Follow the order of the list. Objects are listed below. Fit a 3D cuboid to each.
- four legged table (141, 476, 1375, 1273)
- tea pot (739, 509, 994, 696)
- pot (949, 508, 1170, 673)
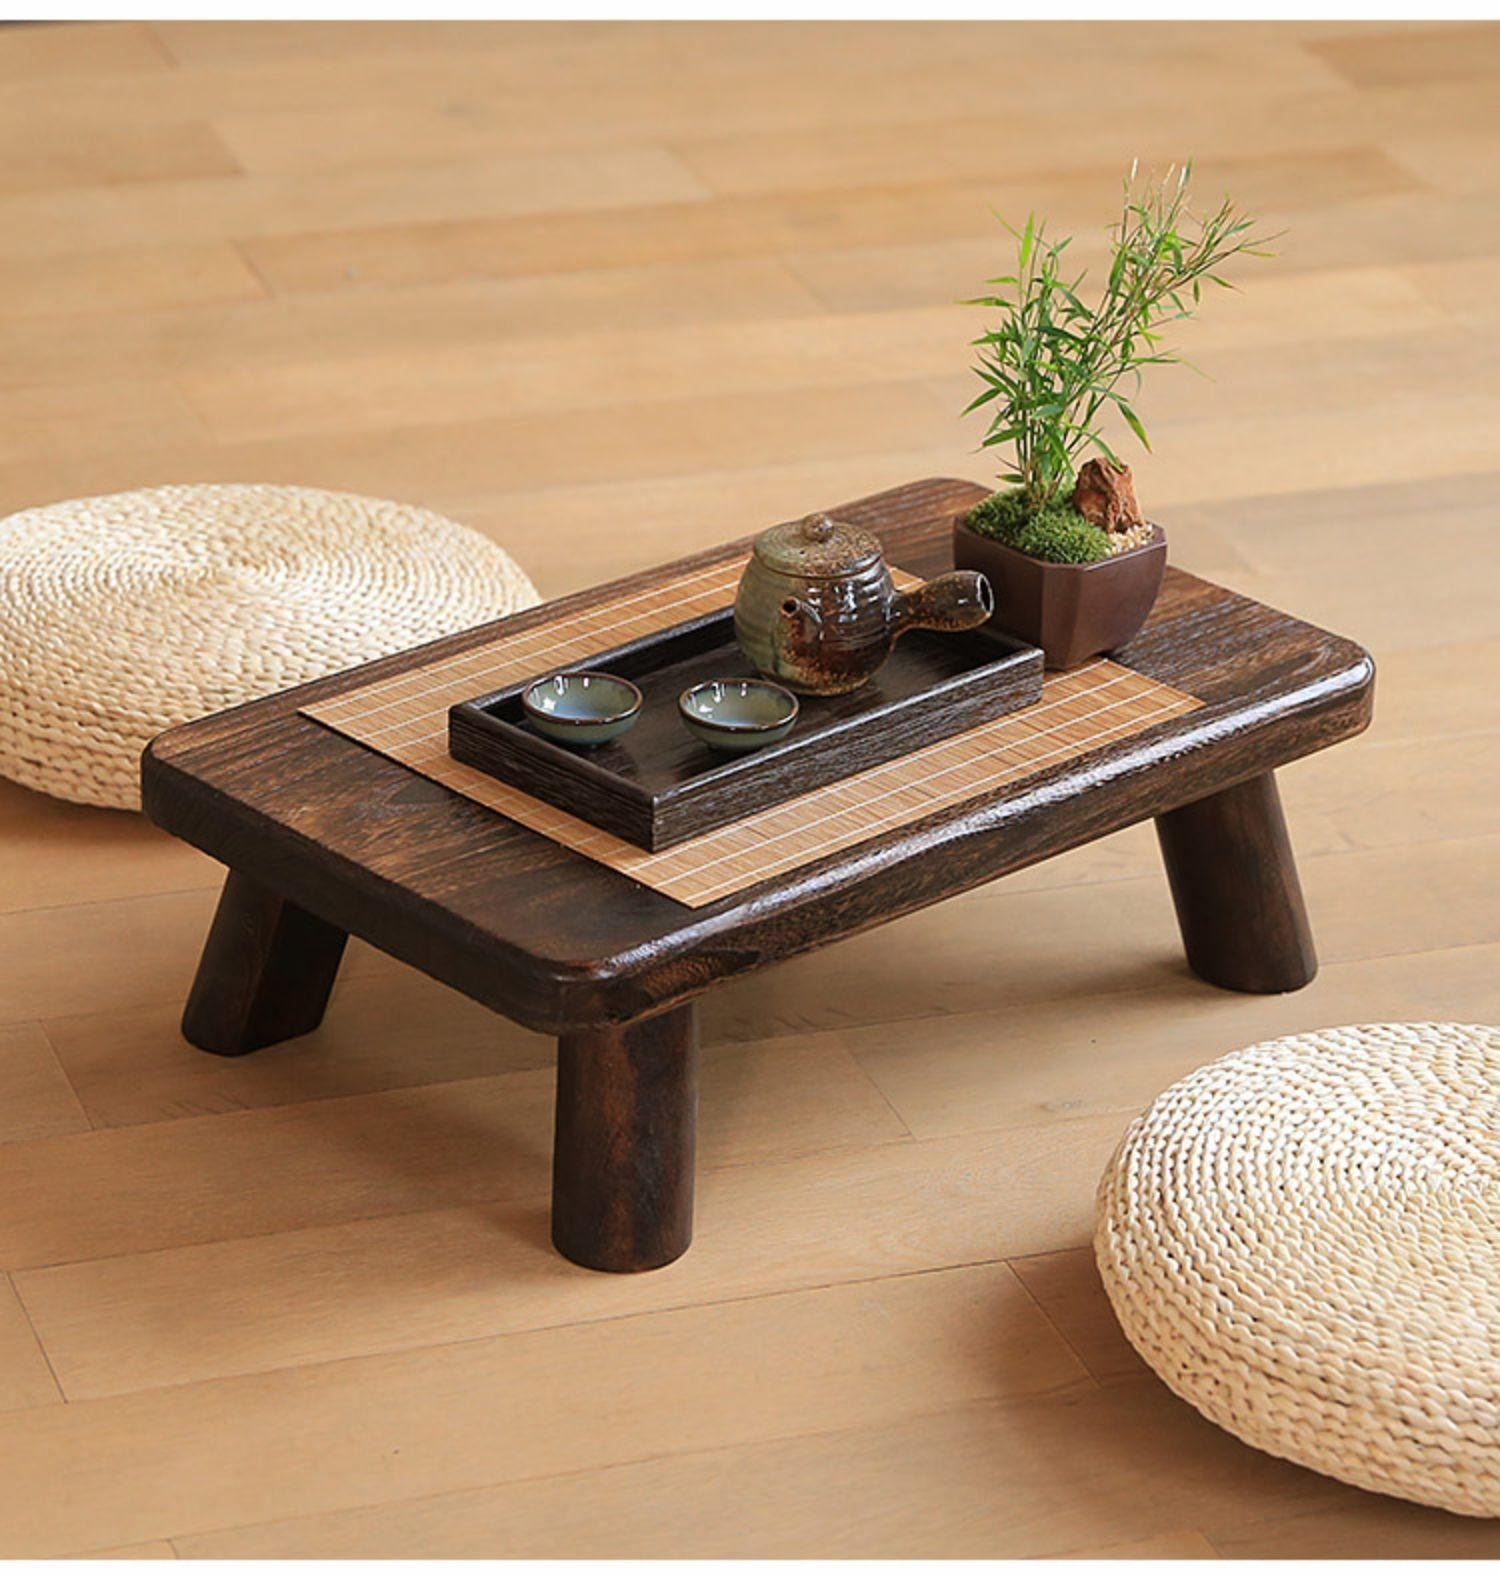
[{"bbox_3d":[0.017,-0.013,1.422,0.796,0.208,0.447,-25,48,-31],"label":"four legged table"},{"bbox_3d":[0.091,-0.157,1.362,0.226,0.110,0.138,5,34,6],"label":"tea pot"},{"bbox_3d":[0.285,-0.168,1.480,0.140,0.075,0.153,0,14,0],"label":"pot"}]
